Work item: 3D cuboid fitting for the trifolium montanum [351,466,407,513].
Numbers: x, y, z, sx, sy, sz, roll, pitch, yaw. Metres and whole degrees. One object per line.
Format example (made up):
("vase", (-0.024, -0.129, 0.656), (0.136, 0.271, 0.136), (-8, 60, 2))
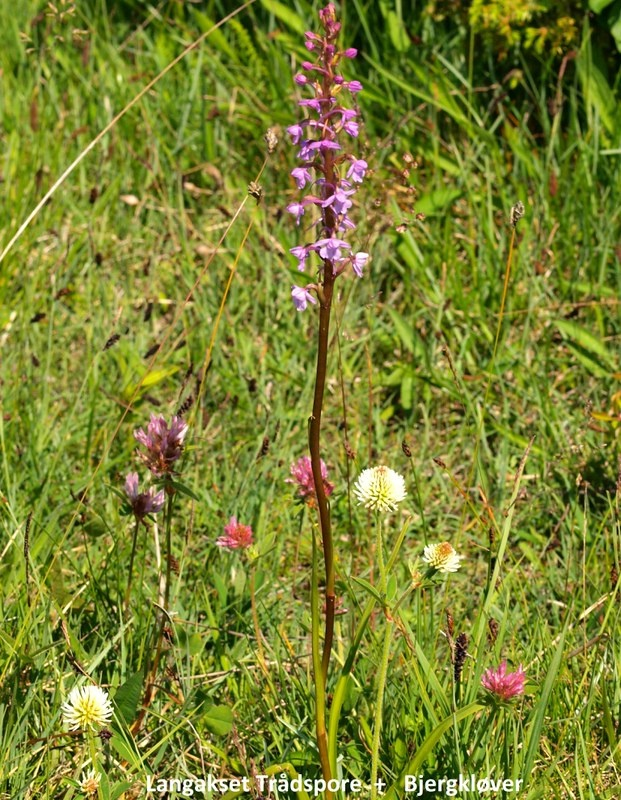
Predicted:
("trifolium montanum", (0.136, 0.180, 2.171), (0.092, 0.114, 0.103), (1, 0, 6))

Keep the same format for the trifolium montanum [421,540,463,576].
("trifolium montanum", (0.264, 0.347, 2.100), (0.086, 0.067, 0.097), (9, 25, 2))
